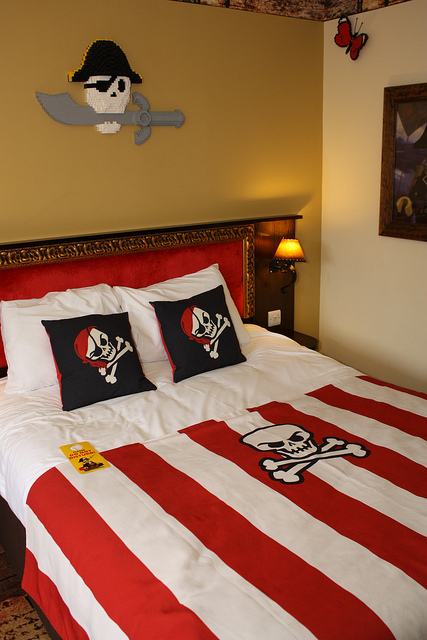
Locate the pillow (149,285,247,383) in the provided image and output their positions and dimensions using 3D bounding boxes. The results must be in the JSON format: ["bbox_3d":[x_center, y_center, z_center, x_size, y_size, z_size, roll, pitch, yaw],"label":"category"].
[{"bbox_3d":[-0.083,0.072,2.355,0.464,0.422,0.135,-16,-4,-36],"label":"pillow"}]

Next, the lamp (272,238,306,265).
[{"bbox_3d":[0.500,-0.453,3.107,0.160,0.151,0.167,3,18,6],"label":"lamp"}]

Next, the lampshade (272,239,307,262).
[{"bbox_3d":[0.500,-0.456,3.107,0.159,0.108,0.161,1,17,0],"label":"lampshade"}]
